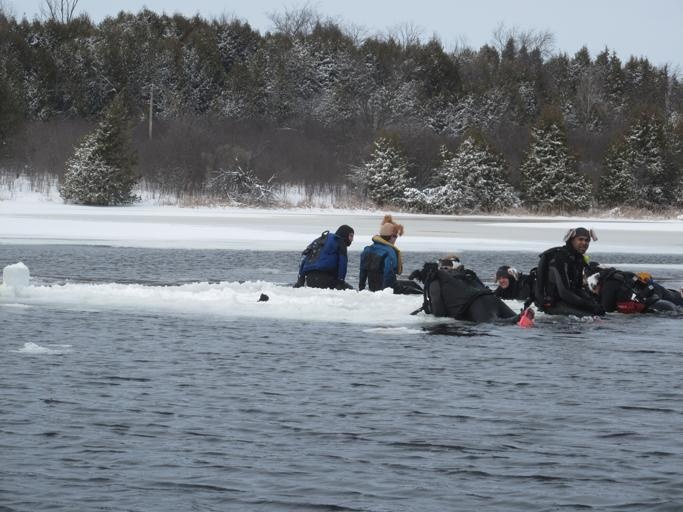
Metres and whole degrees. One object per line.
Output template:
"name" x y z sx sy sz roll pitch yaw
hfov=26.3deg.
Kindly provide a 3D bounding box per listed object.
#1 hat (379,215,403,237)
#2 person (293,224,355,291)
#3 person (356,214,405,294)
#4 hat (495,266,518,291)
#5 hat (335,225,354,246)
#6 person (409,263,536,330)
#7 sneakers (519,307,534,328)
"hat" 1.178 -0.728 33.429 0.475 0.490 0.612 5 7 5
"person" -0.365 -0.013 33.258 1.112 1.477 0.626 8 8 28
"person" 0.949 -0.075 33.433 0.941 1.775 1.017 4 7 -1
"hat" 3.713 0.464 32.859 0.576 0.487 0.432 -6 4 -23
"hat" 0.174 -0.512 33.305 0.535 0.469 0.354 -8 12 -19
"person" 2.643 0.905 31.260 1.359 0.662 1.945 -10 15 -41
"sneakers" 3.956 1.284 30.806 0.263 0.433 0.106 11 27 -9
